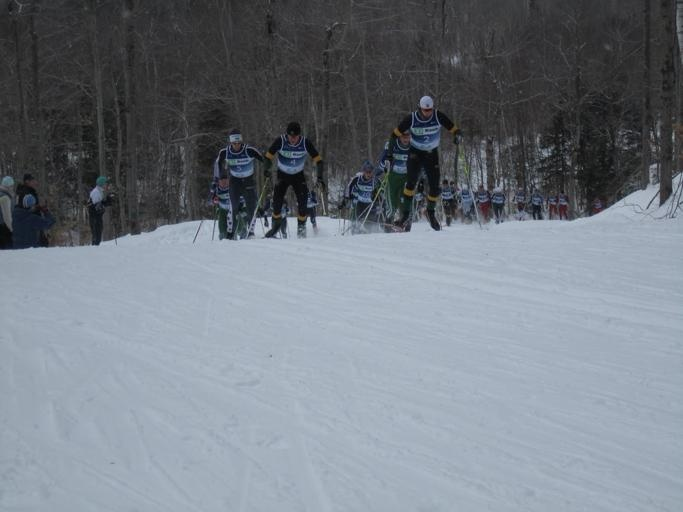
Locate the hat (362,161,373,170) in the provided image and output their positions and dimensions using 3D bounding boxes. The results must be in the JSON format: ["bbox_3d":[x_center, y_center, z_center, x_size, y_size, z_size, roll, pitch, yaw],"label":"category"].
[{"bbox_3d":[0.605,-2.065,18.822,0.247,0.125,0.381,-1,38,-3],"label":"hat"}]

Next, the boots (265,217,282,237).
[{"bbox_3d":[-1.384,-0.569,16.160,0.328,0.438,1.055,-2,6,-5],"label":"boots"}]

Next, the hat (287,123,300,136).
[{"bbox_3d":[-0.928,-2.469,15.469,0.196,0.221,0.254,3,11,-4],"label":"hat"}]

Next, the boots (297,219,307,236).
[{"bbox_3d":[-0.794,-0.541,15.785,0.219,0.465,0.260,-2,7,-6],"label":"boots"}]

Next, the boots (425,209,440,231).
[{"bbox_3d":[1.765,-0.702,15.430,0.160,0.562,0.202,-15,3,3],"label":"boots"}]

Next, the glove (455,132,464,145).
[{"bbox_3d":[2.218,-2.253,15.132,0.141,0.259,0.158,-3,-2,4],"label":"glove"}]

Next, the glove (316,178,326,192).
[{"bbox_3d":[-0.383,-1.407,15.643,0.068,0.298,0.180,-18,12,-43],"label":"glove"}]

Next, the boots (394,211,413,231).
[{"bbox_3d":[1.202,-0.677,15.826,0.332,0.340,0.953,-1,6,3],"label":"boots"}]

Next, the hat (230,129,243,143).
[{"bbox_3d":[-2.184,-2.469,16.460,0.234,0.280,0.472,-2,5,-9],"label":"hat"}]
